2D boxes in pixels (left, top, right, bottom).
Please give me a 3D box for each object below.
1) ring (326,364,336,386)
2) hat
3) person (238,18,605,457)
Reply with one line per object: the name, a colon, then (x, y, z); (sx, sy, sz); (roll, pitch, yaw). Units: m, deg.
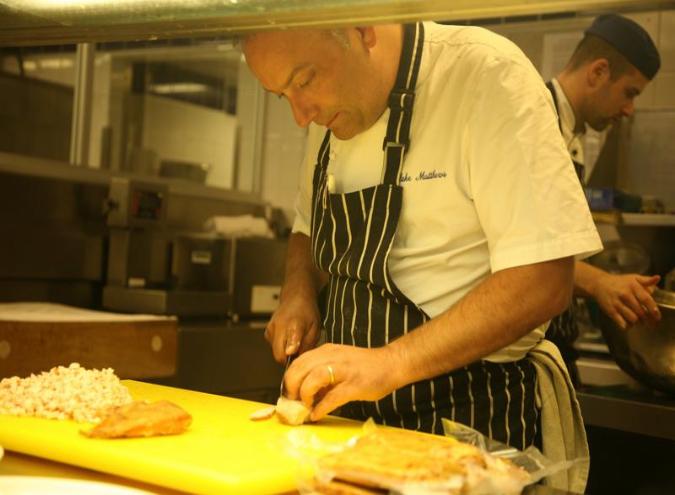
ring: (-0.012, 0.263, 1.193); (0.011, 0.030, 0.023); (-3, -10, -16)
hat: (0.825, -0.662, 1.862); (0.283, 0.123, 0.204); (1, 43, -9)
person: (0.185, -0.054, 1.468); (0.783, 0.823, 0.610); (4, 1, 6)
